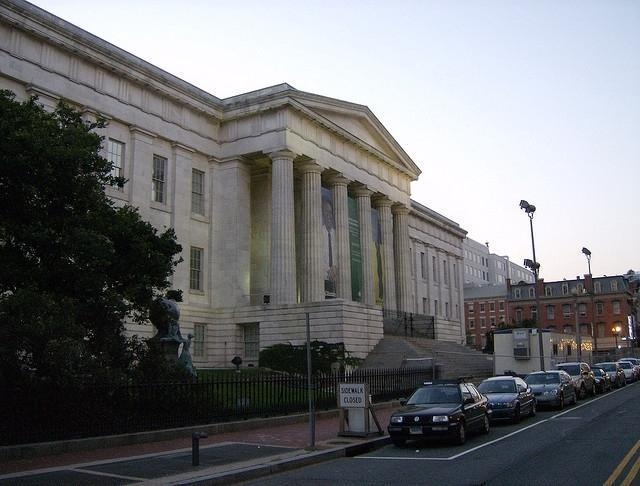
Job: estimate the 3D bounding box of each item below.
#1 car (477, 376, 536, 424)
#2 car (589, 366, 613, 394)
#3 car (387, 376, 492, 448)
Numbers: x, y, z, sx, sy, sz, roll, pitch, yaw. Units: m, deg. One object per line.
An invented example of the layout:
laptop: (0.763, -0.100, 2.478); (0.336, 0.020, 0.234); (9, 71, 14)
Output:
car: (7.103, 5.911, 24.897); (1.259, 0.970, 2.893); (-8, -21, 23)
car: (16.605, 8.205, 38.837); (0.998, 0.909, 2.104); (-10, -19, 33)
car: (3.741, 5.419, 20.903); (2.000, 1.943, 3.649); (-12, -17, 35)
